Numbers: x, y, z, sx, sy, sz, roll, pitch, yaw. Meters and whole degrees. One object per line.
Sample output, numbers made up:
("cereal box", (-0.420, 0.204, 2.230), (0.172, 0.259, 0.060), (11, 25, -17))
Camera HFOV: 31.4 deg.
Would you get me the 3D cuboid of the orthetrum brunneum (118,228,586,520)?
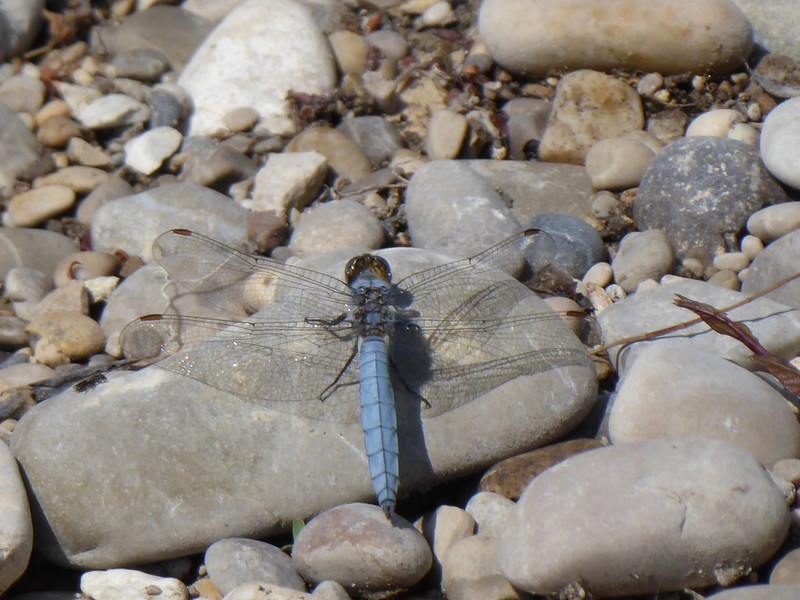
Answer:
("orthetrum brunneum", (-0.296, 0.469, 10.447), (3.478, 0.728, 2.341), (4, 43, -1))
